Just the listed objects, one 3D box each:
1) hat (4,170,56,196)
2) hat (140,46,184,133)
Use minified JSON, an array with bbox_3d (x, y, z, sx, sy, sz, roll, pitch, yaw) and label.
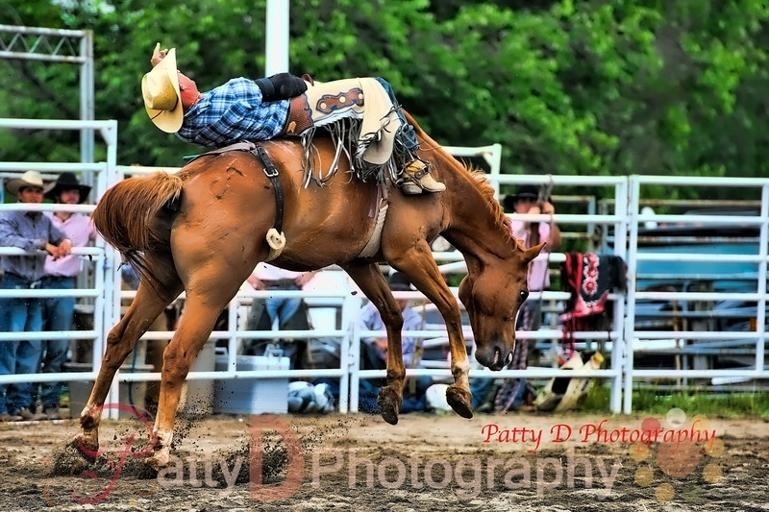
[{"bbox_3d":[-4.257,-0.863,15.596,0.389,0.158,0.415,3,-15,-7],"label":"hat"},{"bbox_3d":[-2.171,-1.604,12.886,0.221,0.741,0.613,-10,35,-16],"label":"hat"}]
